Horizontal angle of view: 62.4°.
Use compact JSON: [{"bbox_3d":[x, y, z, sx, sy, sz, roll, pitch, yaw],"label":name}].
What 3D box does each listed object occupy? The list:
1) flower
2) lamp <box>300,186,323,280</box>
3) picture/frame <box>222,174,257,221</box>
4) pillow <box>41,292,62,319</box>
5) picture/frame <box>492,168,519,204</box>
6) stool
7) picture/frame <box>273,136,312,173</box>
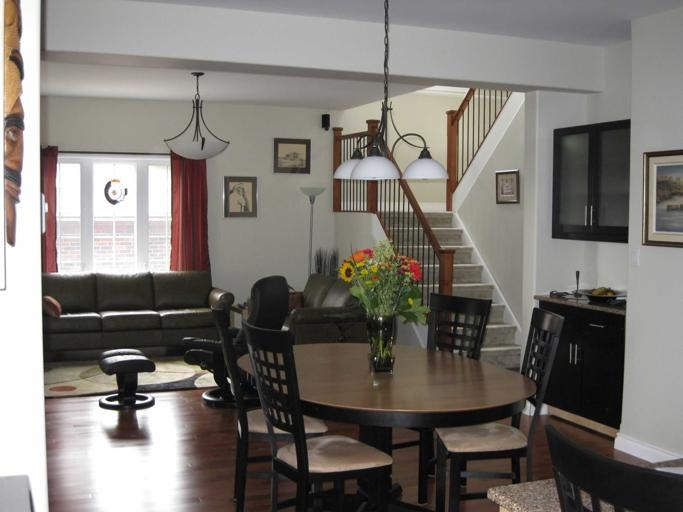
[{"bbox_3d":[0.311,0.254,3.692,0.694,1.008,0.673,0,6,11],"label":"flower"},{"bbox_3d":[-0.440,-0.365,8.394,0.309,1.375,0.876,0,5,-4],"label":"lamp"},{"bbox_3d":[-1.542,-0.903,8.405,0.600,0.794,0.027,-3,6,-15],"label":"picture/frame"},{"bbox_3d":[-3.628,0.619,7.091,0.198,0.245,0.424,-2,5,-26],"label":"pillow"},{"bbox_3d":[2.050,-0.879,7.032,0.046,0.488,0.454,-2,5,-28],"label":"picture/frame"},{"bbox_3d":[-2.126,1.203,5.598,0.512,0.490,0.602,-2,5,-25],"label":"stool"},{"bbox_3d":[-0.779,-1.560,8.560,0.520,0.532,0.035,0,1,-25],"label":"picture/frame"}]
